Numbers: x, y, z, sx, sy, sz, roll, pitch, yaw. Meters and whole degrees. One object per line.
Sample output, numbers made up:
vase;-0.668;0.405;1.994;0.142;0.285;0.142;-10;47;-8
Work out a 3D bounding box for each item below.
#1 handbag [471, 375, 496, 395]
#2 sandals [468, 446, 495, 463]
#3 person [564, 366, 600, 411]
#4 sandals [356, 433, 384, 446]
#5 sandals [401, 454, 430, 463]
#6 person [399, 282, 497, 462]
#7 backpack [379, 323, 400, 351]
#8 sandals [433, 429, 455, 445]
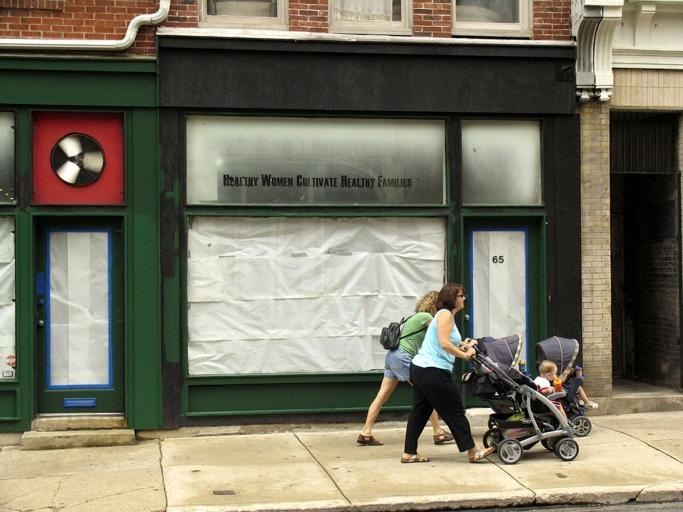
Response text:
handbag;1.837;1.693;14.739;0.324;0.336;0.234;-3;5;-2
sandals;1.830;2.546;14.480;0.382;0.161;0.164;-21;34;16
person;3.199;1.794;15.393;0.637;0.705;0.275;0;24;22
sandals;0.382;2.528;15.363;0.311;0.129;0.153;1;4;-11
sandals;0.958;2.610;14.568;0.366;0.153;0.125;-3;3;-16
person;1.279;1.540;14.415;1.075;2.310;0.531;-2;1;3
backpack;0.673;1.117;15.318;0.215;0.389;0.335;13;-19;-18
sandals;1.419;2.512;15.461;0.307;0.135;0.133;-6;4;-39
